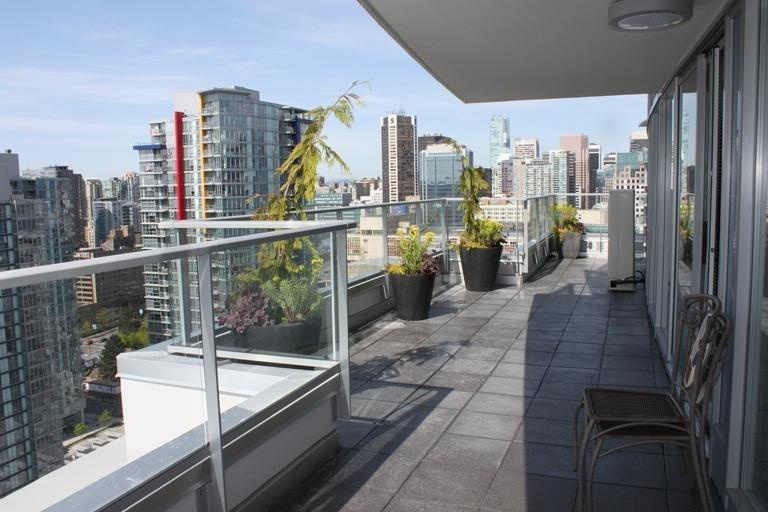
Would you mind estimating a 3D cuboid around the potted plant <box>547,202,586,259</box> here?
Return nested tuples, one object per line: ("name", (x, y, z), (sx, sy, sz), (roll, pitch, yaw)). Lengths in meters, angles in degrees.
("potted plant", (4.265, -0.583, 12.238), (0.788, 1.288, 0.390), (-4, 7, 4))
